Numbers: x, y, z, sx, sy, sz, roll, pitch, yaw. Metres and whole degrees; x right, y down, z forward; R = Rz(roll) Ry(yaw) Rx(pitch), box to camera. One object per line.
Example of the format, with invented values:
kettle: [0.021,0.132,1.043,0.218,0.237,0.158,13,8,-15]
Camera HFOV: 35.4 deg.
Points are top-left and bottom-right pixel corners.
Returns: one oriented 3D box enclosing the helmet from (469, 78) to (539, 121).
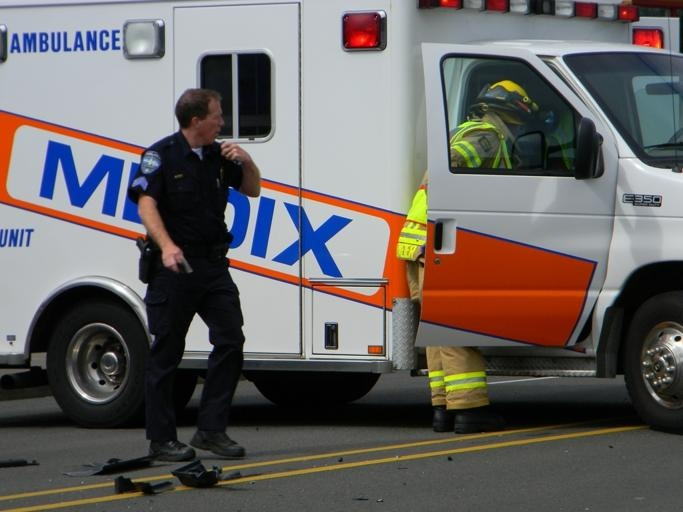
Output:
helmet: [1.285,-1.214,8.514,0.413,0.258,0.309,21,-7,-41]

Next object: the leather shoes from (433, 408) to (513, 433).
leather shoes: [1.030,1.317,8.662,0.425,0.193,0.253,-1,1,-21]

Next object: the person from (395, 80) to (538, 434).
person: [0.969,0.018,8.561,1.083,2.850,0.389,0,4,-14]
